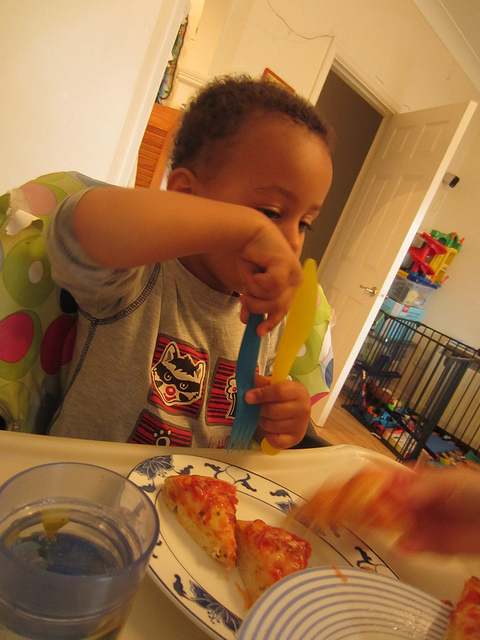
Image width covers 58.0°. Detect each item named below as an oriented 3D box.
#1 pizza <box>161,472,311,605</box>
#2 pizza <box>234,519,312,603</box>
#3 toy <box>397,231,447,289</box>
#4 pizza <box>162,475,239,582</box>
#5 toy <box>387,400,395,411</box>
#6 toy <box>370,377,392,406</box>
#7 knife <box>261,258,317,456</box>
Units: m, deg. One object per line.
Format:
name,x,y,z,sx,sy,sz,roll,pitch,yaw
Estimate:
pizza,-0.002,0.196,0.437,0.155,0.038,0.098,36,18,33
pizza,0.028,0.212,0.399,0.056,0.020,0.060,18,25,25
toy,1.696,-0.523,3.940,0.446,0.400,0.403,12,19,-43
pizza,-0.028,0.194,0.436,0.072,0.045,0.125,19,11,-28
toy,1.183,0.658,3.379,0.046,0.017,0.072,3,53,3
toy,1.130,0.564,3.457,0.152,0.039,0.147,28,19,-16
knife,0.055,0.043,0.563,0.030,0.236,0.023,21,33,15
